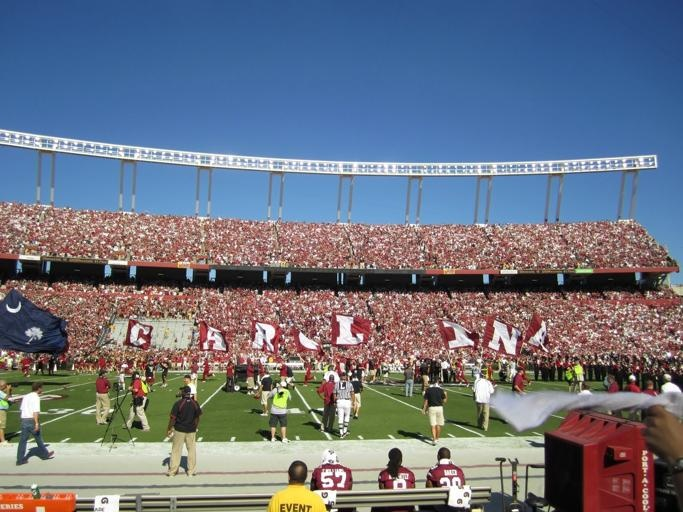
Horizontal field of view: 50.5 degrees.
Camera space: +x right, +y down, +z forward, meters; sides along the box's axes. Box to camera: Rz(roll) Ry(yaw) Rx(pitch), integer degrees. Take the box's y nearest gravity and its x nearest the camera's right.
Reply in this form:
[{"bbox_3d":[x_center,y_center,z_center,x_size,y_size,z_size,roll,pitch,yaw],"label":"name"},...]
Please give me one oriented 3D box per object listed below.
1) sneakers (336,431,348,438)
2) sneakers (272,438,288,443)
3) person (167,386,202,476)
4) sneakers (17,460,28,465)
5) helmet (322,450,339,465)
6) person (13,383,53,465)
[{"bbox_3d":[0.040,6.763,27.451,0.153,0.213,0.497,2,-1,16],"label":"sneakers"},{"bbox_3d":[-2.315,6.833,26.711,0.627,0.273,0.216,0,-24,4],"label":"sneakers"},{"bbox_3d":[-5.223,5.740,23.944,0.972,2.897,1.041,2,-12,-13],"label":"person"},{"bbox_3d":[-10.627,6.872,24.058,0.346,0.164,0.197,11,-16,-44],"label":"sneakers"},{"bbox_3d":[-0.312,5.627,20.301,0.345,0.422,0.439,4,1,-3],"label":"helmet"},{"bbox_3d":[-10.428,5.679,24.543,0.991,2.691,0.886,7,-14,-34],"label":"person"}]
